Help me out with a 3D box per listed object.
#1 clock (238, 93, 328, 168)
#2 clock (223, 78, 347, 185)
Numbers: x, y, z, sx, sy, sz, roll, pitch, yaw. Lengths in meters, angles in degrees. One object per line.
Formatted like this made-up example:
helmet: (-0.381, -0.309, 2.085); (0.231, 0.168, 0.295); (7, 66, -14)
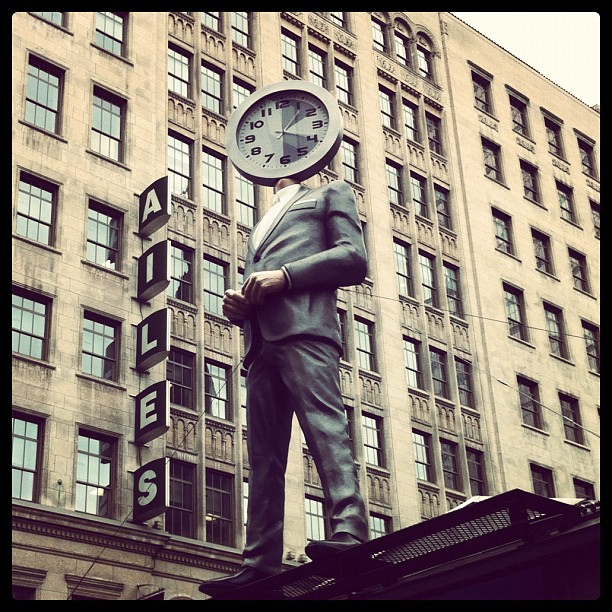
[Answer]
clock: (-0.256, -2.331, 18.037); (1.010, 1.006, 0.116); (-9, -31, 9)
clock: (-0.281, -2.368, 18.075); (1.596, 0.933, 0.621); (-10, -5, 13)
